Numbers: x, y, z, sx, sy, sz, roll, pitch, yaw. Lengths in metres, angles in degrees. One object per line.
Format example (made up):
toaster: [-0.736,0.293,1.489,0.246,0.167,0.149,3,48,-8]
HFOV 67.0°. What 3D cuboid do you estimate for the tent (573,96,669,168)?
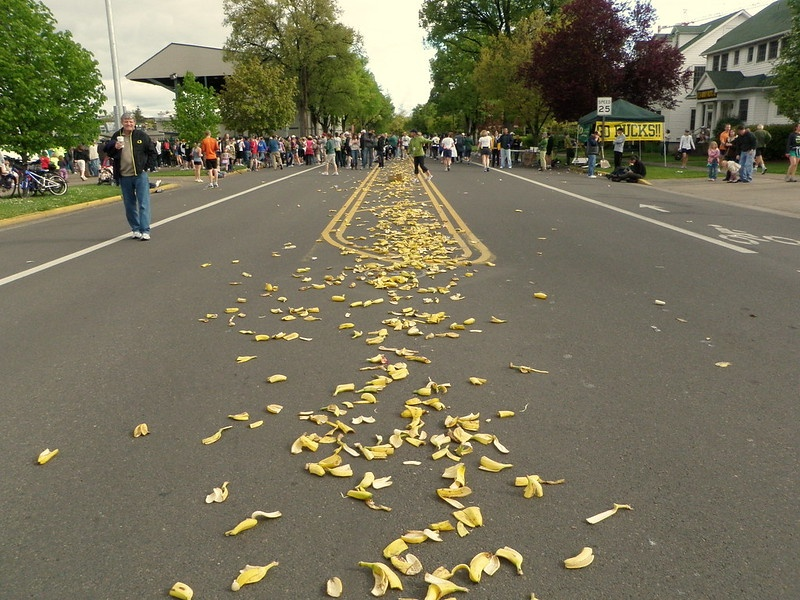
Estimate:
tent: [10.680,-8.324,28.928,3.607,3.464,4.118,0,15,-3]

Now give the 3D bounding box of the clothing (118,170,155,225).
clothing: [-4.875,-1.787,11.107,0.448,1.259,0.352,-6,14,-16]
